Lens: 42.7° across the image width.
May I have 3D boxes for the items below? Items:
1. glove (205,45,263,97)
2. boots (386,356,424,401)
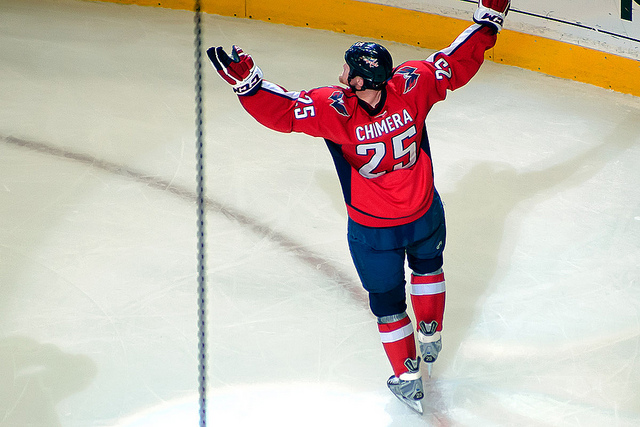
[{"bbox_3d":[-0.450,-0.777,4.519,0.196,0.326,0.168,-48,15,-11],"label":"glove"},{"bbox_3d":[0.514,0.989,4.885,0.177,0.256,0.276,0,-1,-31],"label":"boots"}]
